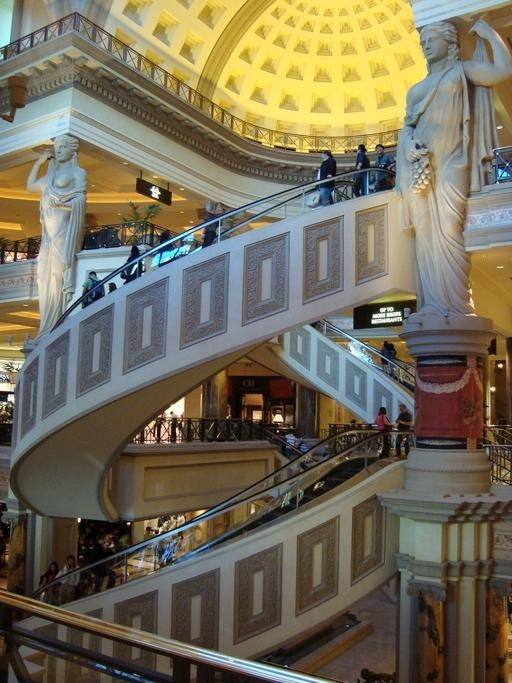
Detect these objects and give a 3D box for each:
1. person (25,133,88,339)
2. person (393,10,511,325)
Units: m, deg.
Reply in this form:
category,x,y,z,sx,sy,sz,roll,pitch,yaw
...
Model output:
category,x,y,z,sx,sy,sz,roll,pitch,yaw
person,-3.337,-1.840,11.561,0.758,3.606,1.182,3,-10,-29
person,2.052,-1.827,7.253,1.180,3.216,0.617,-4,-9,15
